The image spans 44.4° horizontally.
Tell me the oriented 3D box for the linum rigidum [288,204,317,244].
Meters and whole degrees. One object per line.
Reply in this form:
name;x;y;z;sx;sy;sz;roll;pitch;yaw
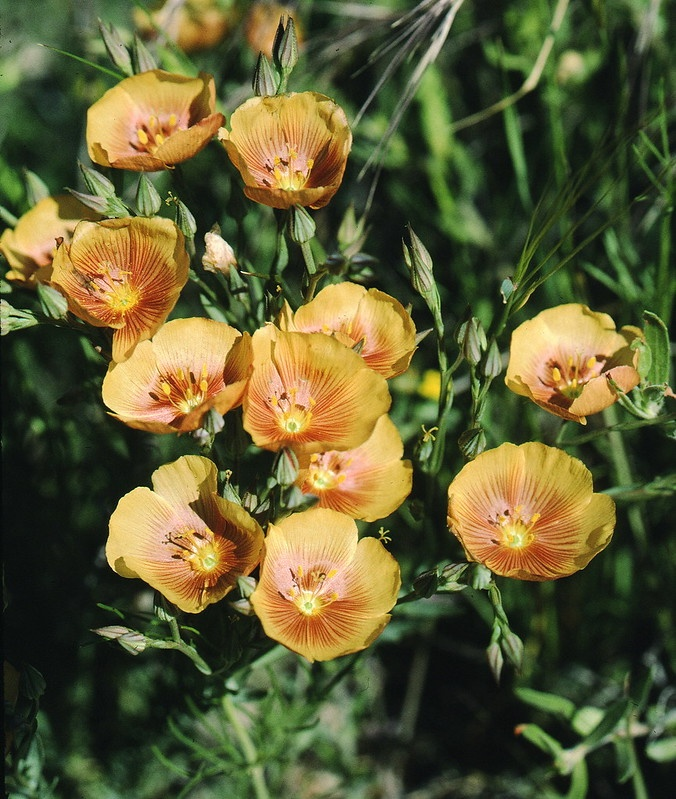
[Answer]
linum rigidum;-0.036;-0.160;0.766;0.029;0.014;0.031;-26;106;2

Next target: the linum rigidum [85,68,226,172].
linum rigidum;-0.177;-0.264;0.836;0.136;0.059;0.135;-22;46;-11

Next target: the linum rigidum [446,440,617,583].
linum rigidum;0.177;0.105;0.782;0.145;0.080;0.134;-29;81;-7

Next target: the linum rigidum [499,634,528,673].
linum rigidum;0.161;0.231;0.765;0.022;0.010;0.039;-22;64;17

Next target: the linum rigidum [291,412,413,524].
linum rigidum;0.011;0.080;0.848;0.114;0.054;0.109;41;70;17

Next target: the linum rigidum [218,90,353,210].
linum rigidum;-0.048;-0.239;0.797;0.122;0.092;0.135;-13;80;-4

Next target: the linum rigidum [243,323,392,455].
linum rigidum;-0.018;-0.009;0.748;0.129;0.082;0.118;5;79;-1

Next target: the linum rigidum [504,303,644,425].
linum rigidum;0.240;-0.044;0.845;0.136;0.057;0.122;16;79;1

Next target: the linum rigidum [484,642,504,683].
linum rigidum;0.143;0.238;0.764;0.016;0.012;0.041;-10;76;13

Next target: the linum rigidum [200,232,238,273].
linum rigidum;-0.116;-0.139;0.802;0.015;0.030;0.038;-5;41;21
